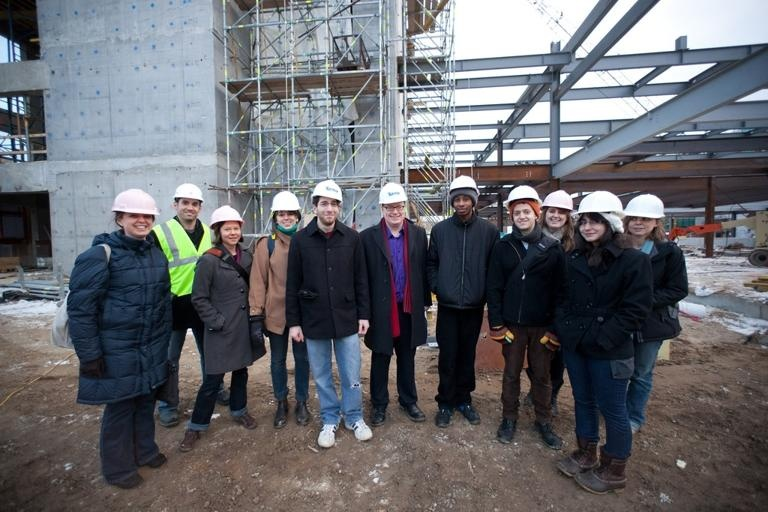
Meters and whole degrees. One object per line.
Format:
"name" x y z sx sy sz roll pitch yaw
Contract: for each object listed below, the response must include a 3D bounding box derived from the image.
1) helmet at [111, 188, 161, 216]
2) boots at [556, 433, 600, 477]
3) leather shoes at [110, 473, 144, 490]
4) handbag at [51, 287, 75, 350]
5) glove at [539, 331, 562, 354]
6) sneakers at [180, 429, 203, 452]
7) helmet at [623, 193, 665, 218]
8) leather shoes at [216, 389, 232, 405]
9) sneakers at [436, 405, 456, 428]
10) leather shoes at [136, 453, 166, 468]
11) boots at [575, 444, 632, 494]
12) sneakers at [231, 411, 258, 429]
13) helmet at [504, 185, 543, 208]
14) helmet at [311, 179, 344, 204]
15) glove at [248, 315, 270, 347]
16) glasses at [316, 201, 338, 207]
"helmet" -4.690 -1.051 10.424 0.670 0.361 0.511 0 -4 39
"boots" 3.697 3.715 10.549 0.845 0.630 0.311 -7 21 -15
"leather shoes" -4.724 4.152 10.324 0.491 0.216 0.267 -7 0 1
"handbag" -5.968 1.244 10.365 0.335 1.176 1.006 -6 8 -32
"glove" 3.169 1.642 10.668 0.276 0.315 0.396 7 -16 21
"sneakers" -3.737 3.563 10.821 0.222 0.210 0.475 4 0 -5
"helmet" 5.045 -0.949 10.804 0.630 0.366 0.502 7 3 -40
"leather shoes" -3.381 2.949 11.790 0.410 0.187 0.213 -1 1 40
"sneakers" 1.250 3.207 11.188 0.269 0.293 0.656 0 -13 9
"leather shoes" -4.377 3.863 10.610 0.548 0.248 0.198 -7 11 -25
"boots" 4.065 3.984 10.387 0.938 0.712 0.427 6 9 -12
"sneakers" -2.788 3.280 11.196 0.288 0.303 0.148 17 29 15
"helmet" 2.742 -1.177 10.970 0.549 0.430 0.580 3 9 34
"helmet" -1.093 -1.276 11.003 0.508 0.444 0.472 -1 7 6
"glove" -2.480 1.449 11.031 0.343 0.530 0.238 0 3 2
"glasses" -1.080 -1.030 10.839 0.393 0.119 0.115 -2 7 -7
